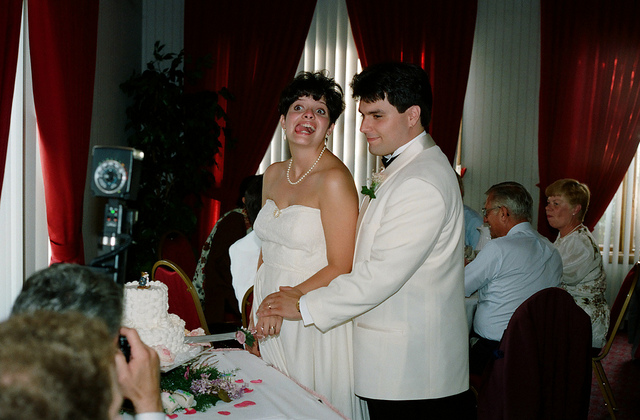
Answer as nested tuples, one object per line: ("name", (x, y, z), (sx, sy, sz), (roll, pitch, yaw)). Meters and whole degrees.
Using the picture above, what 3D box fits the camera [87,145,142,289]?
("camera", (-0.872, 0.019, 2.268), (0.203, 0.622, 0.322), (2, -3, -25))

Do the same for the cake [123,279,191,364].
("cake", (-0.673, 0.436, 2.190), (0.293, 0.350, 0.297), (2, 1, -4))

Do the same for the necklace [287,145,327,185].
("necklace", (-0.070, -0.217, 2.827), (0.016, 0.239, 0.167), (6, 26, -44))

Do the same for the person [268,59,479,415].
("person", (0.337, 0.130, 2.471), (0.747, 1.637, 0.398), (0, -3, 16))

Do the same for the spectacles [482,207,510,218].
("spectacles", (1.258, 0.021, 3.916), (0.062, 0.069, 0.239), (2, -5, -5))

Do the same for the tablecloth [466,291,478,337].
("tablecloth", (1.115, 0.724, 3.891), (0.076, 0.380, 0.288), (3, -2, 22))

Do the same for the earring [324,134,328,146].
("earring", (0.034, -0.392, 2.882), (0.011, 0.043, 0.041), (2, -5, -2))

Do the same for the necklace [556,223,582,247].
("necklace", (2.072, 0.203, 4.386), (0.185, 0.208, 0.050), (-11, 27, 47))

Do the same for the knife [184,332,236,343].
("knife", (-0.515, 0.603, 2.513), (0.237, 0.044, 0.133), (2, -5, -9))
